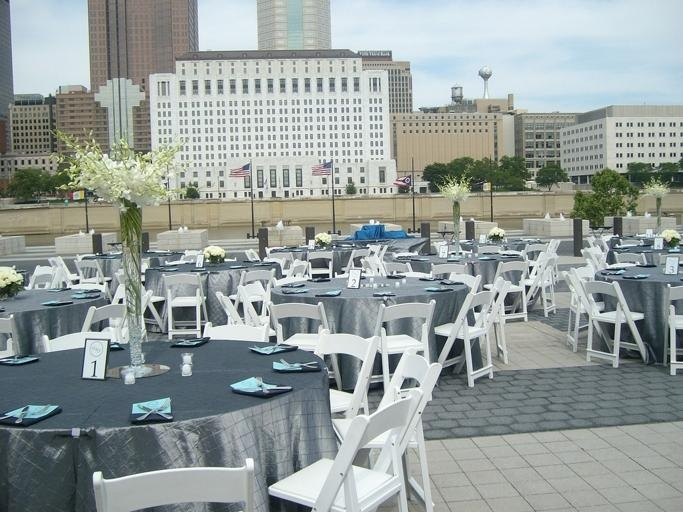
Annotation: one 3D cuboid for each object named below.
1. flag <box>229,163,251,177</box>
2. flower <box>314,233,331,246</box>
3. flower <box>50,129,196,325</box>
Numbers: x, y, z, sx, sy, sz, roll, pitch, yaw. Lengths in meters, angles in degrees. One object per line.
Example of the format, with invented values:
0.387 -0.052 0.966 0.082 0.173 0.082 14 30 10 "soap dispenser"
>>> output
-5.688 -4.796 40.314 1.066 0.647 2.598 -4 7 -9 "flag"
-0.354 -0.334 15.598 0.277 0.302 0.286 -10 11 -42 "flower"
-1.610 -0.269 5.624 1.102 1.564 1.229 -1 4 12 "flower"
